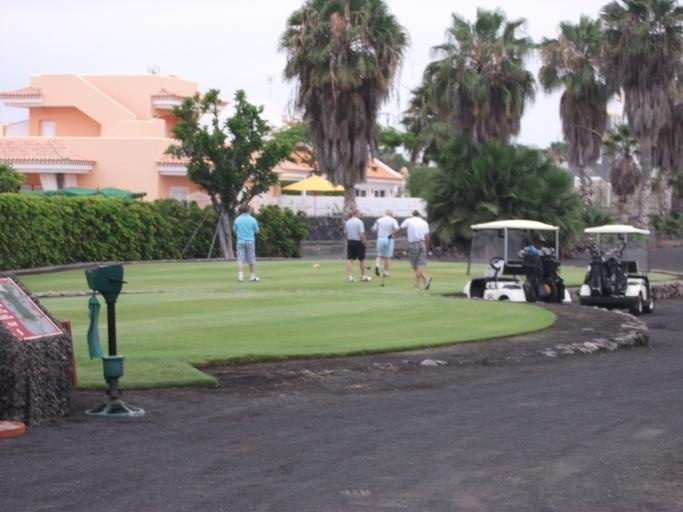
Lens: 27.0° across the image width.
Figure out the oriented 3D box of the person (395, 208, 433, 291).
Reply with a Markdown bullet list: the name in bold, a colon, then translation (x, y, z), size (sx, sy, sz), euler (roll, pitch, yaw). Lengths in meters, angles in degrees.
- **person**: translation (1.942, -0.158, 36.549), size (0.769, 2.148, 0.689), euler (0, -8, 2)

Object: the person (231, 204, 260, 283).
- **person**: translation (-2.654, -0.358, 37.488), size (0.650, 2.015, 0.896), euler (0, 0, 20)

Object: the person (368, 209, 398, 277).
- **person**: translation (1.189, -0.390, 39.160), size (0.585, 1.944, 0.775), euler (0, 0, 34)

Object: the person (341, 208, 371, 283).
- **person**: translation (0.426, -0.337, 38.051), size (0.671, 2.047, 0.652), euler (1, 5, 0)

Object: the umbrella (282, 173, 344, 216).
- **umbrella**: translation (-1.201, -2.696, 61.445), size (2.399, 2.552, 3.600), euler (-3, 0, 21)
